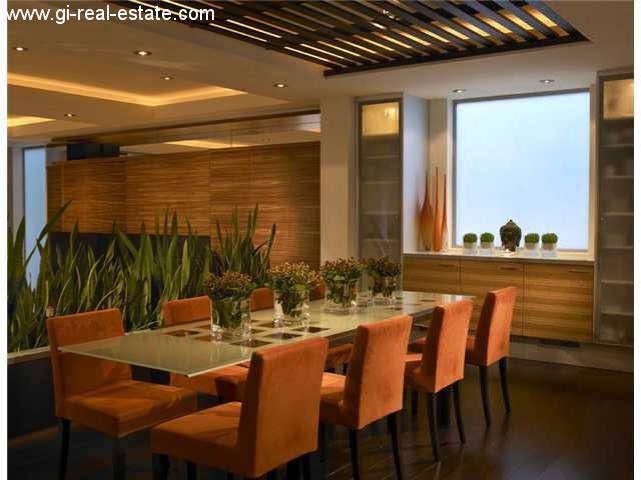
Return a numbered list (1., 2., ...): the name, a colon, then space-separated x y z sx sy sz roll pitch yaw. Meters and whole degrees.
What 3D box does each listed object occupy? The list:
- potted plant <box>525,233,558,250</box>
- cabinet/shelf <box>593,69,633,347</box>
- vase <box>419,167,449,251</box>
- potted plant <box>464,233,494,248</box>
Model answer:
1. potted plant: 2.508 0.010 5.530 0.315 0.188 0.296 -3 5 -42
2. cabinet/shelf: 2.912 -0.321 4.862 0.358 2.736 0.218 2 4 30
3. vase: 1.426 -0.412 6.258 0.342 1.090 0.321 1 4 23
4. potted plant: 1.870 -0.019 5.823 0.241 0.139 0.210 0 2 20
